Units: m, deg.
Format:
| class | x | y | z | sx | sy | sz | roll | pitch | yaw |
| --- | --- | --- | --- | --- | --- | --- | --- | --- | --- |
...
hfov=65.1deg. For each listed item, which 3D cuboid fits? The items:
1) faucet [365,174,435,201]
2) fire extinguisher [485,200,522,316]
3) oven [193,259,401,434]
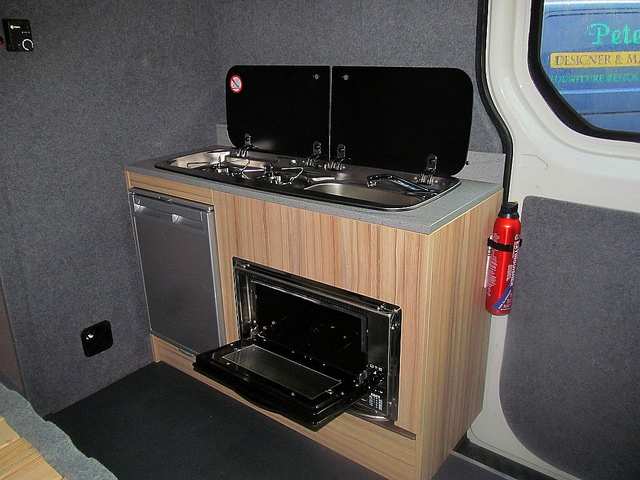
| class | x | y | z | sx | sy | sz | roll | pitch | yaw |
| --- | --- | --- | --- | --- | --- | --- | --- | --- | --- |
| faucet | 0.318 | -0.214 | 1.964 | 0.113 | 0.067 | 0.392 | -14 | 27 | -36 |
| fire extinguisher | 0.668 | 0.072 | 1.915 | 0.130 | 0.423 | 0.147 | 13 | 23 | 29 |
| oven | -0.129 | 0.399 | 1.878 | 0.776 | 0.465 | 0.376 | 14 | 18 | 33 |
